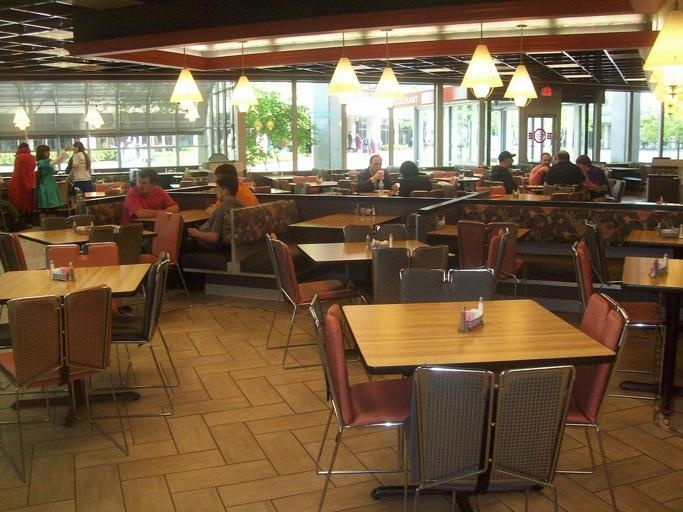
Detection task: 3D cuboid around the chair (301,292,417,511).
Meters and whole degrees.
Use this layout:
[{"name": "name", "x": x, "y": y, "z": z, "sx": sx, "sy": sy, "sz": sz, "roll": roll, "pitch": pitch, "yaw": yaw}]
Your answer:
[{"name": "chair", "x": 0.126, "y": 0.813, "z": 3.124, "sx": 0.579, "sy": 1.163, "sz": 0.940, "roll": -1, "pitch": 11, "yaw": -1}]

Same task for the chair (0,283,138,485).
[{"name": "chair", "x": -1.862, "y": 0.733, "z": 3.666, "sx": 0.792, "sy": 1.139, "sz": 0.778, "roll": -5, "pitch": 12, "yaw": -20}]

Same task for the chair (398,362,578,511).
[{"name": "chair", "x": 0.520, "y": 0.710, "z": 2.517, "sx": 0.722, "sy": 0.736, "sz": 0.595, "roll": 1, "pitch": 22, "yaw": 2}]

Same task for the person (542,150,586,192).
[{"name": "person", "x": 4.143, "y": -1.567, "z": 10.440, "sx": 0.837, "sy": 0.654, "sz": 0.407, "roll": -1, "pitch": 21, "yaw": 20}]

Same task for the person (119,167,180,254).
[{"name": "person", "x": -2.665, "y": -0.601, "z": 7.679, "sx": 0.732, "sy": 1.049, "sz": 0.676, "roll": 13, "pitch": 18, "yaw": 22}]
